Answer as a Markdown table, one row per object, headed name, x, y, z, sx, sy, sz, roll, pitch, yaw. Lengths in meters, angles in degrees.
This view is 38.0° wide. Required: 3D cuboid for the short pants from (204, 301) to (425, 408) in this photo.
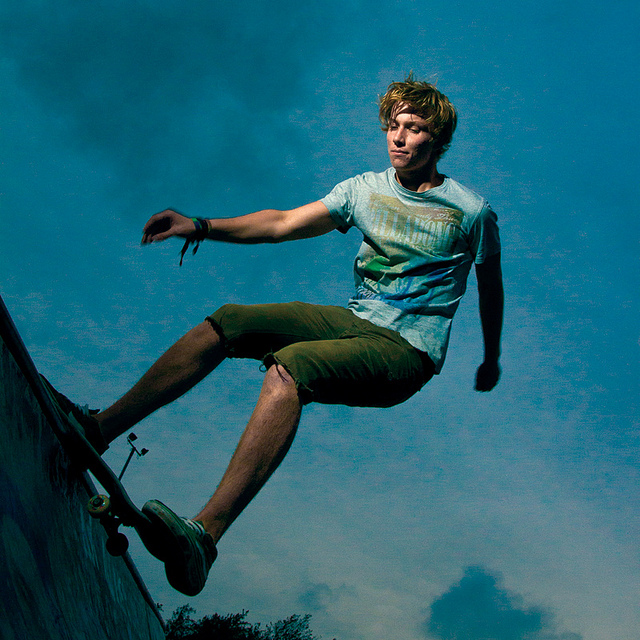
| name | x | y | z | sx | sy | sz | roll | pitch | yaw |
| --- | --- | --- | --- | --- | --- | --- | --- | --- | --- |
| short pants | 0.043 | 0.145 | 4.405 | 0.990 | 0.238 | 0.557 | 8 | 14 | -19 |
